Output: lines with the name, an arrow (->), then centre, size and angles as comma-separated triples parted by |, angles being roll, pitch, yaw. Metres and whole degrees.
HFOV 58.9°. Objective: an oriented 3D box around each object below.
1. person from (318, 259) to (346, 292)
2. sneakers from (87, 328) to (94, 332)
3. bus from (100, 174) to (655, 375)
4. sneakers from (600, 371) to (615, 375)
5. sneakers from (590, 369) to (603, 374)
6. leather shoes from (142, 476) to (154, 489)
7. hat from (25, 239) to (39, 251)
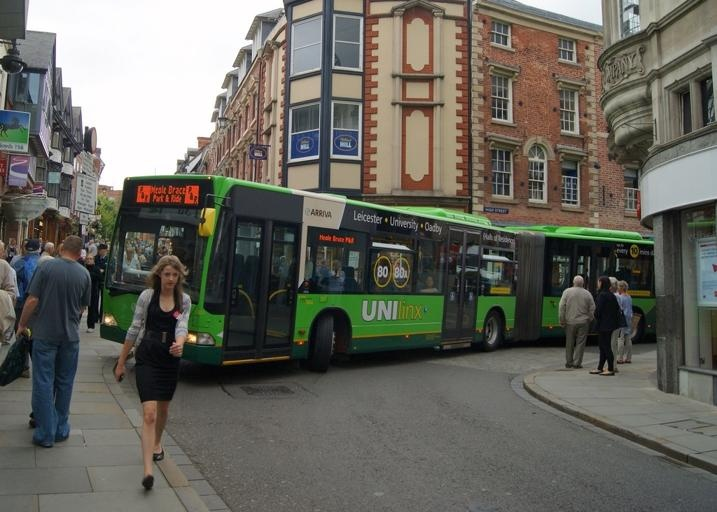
person -> -0.560, 0.429, 13.302 | 0.146, 0.659, 0.688 | 5, 5, 40
sneakers -> -6.891, 1.909, 16.311 | 0.081, 0.067, 0.222 | -1, -10, -8
bus -> 2.412, 0.531, 17.249 | 14.972, 4.012, 3.381 | 4, 5, -33
sneakers -> 5.577, 2.613, 14.202 | 0.298, 0.139, 0.117 | 3, -8, 3
sneakers -> 5.390, 2.617, 14.337 | 0.264, 0.118, 0.097 | 1, -7, 15
leather shoes -> -2.390, 2.550, 7.194 | 0.123, 0.164, 0.143 | 1, 4, -20
hat -> -5.728, -0.196, 11.118 | 0.175, 0.266, 0.135 | 10, -42, -16
